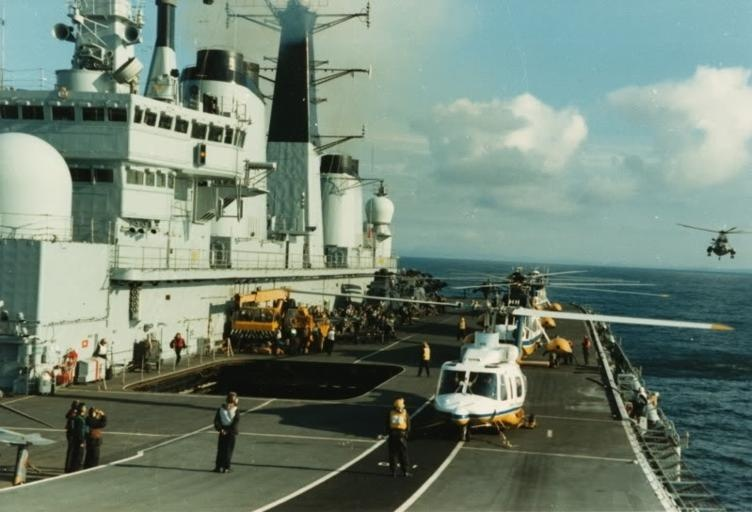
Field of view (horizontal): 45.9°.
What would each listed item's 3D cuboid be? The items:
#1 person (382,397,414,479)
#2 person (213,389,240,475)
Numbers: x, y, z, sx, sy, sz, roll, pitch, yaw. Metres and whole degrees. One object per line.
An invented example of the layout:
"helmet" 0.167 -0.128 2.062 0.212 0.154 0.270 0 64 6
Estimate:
"person" 0.992 7.759 37.787 0.976 3.190 1.229 0 -1 2
"person" -6.284 7.462 37.326 0.964 3.340 0.922 1 -1 -11
